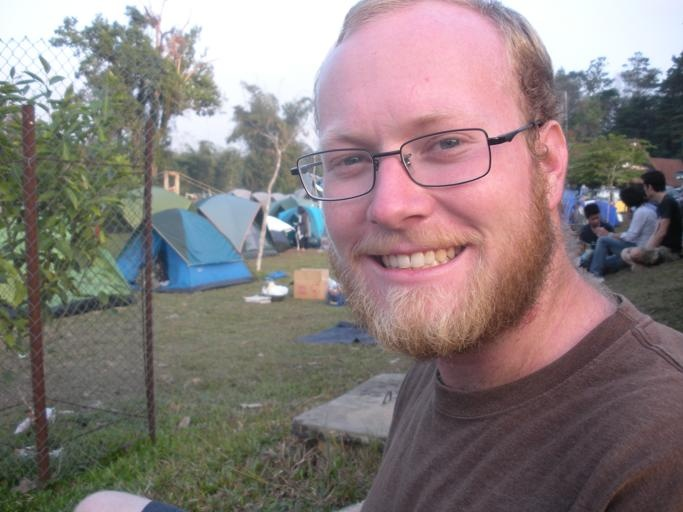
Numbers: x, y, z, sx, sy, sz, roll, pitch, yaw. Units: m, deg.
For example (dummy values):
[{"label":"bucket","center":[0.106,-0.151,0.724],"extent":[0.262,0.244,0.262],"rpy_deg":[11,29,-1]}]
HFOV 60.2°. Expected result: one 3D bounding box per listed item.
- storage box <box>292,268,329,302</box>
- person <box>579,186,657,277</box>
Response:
[{"label":"storage box","center":[-0.619,0.575,11.523],"extent":[0.549,0.611,0.581],"rpy_deg":[1,-4,-5]},{"label":"person","center":[4.516,-0.352,9.601],"extent":[0.909,1.743,0.680],"rpy_deg":[4,23,14]}]
